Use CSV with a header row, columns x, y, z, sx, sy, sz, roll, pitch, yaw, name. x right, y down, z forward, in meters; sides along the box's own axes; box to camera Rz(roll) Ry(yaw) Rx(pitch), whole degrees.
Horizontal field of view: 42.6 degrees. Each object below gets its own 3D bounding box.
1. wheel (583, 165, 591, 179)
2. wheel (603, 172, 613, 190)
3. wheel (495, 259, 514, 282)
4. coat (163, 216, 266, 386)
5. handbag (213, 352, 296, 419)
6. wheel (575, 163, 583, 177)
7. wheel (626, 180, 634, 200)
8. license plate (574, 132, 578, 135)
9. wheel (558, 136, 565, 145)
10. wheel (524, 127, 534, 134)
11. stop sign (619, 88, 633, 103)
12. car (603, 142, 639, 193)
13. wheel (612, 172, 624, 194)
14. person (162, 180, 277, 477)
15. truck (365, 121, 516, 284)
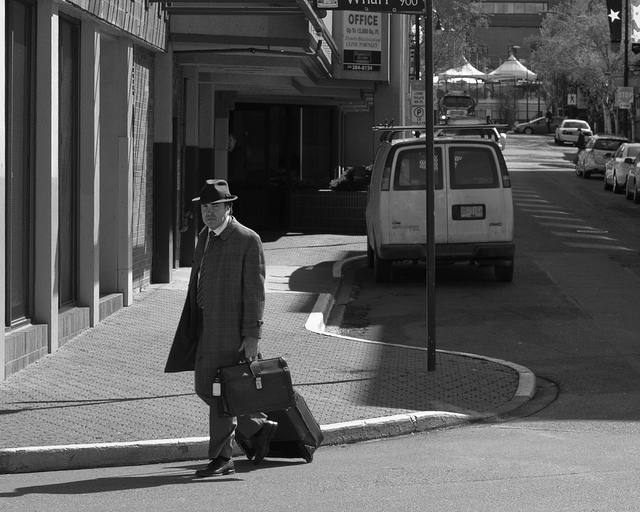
x,y,z,sx,sy,sz,roll,pitch,yaw,name
12.285,-3.861,37.662,0.156,0.500,0.489,3,17,-7,wheel
11.517,-2.943,32.627,0.276,0.850,0.815,1,-1,2,wheel
3.239,0.298,14.353,0.347,0.350,0.387,1,11,5,wheel
-0.746,0.318,5.850,0.695,1.143,0.477,0,10,3,coat
-0.463,0.863,5.786,0.552,0.563,0.251,-6,-15,-22,handbag
12.231,-4.013,38.547,0.178,0.578,0.547,-1,-15,-20,wheel
11.098,-2.324,29.228,0.221,0.678,0.648,0,-6,2,wheel
19.044,-8.996,60.731,0.198,0.208,0.109,1,12,7,license plate
18.396,-8.659,62.402,0.394,0.785,0.434,-3,6,1,wheel
20.089,-11.958,78.538,0.527,0.571,0.182,2,10,13,wheel
15.693,-8.192,42.050,0.817,0.862,0.114,1,-2,8,stop sign
11.833,-3.409,31.624,1.072,1.056,2.424,0,9,2,car
11.492,-2.755,31.417,0.399,0.809,0.498,3,11,20,wheel
-0.720,0.545,5.858,0.698,2.126,0.663,-8,13,-39,person
2.028,-1.132,14.783,1.748,1.764,3.293,0,7,-4,truck
